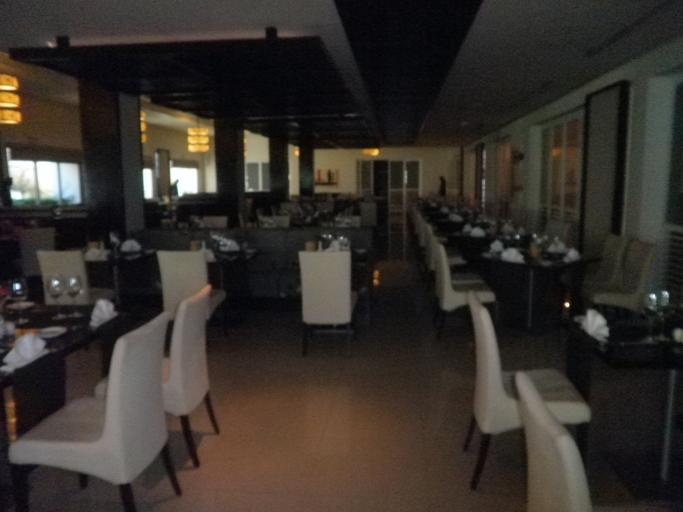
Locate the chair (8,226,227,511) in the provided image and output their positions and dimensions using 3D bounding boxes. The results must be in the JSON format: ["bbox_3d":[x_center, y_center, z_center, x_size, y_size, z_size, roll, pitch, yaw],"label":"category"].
[{"bbox_3d":[-1.474,0.688,3.686,1.126,1.817,1.102,6,11,7],"label":"chair"}]

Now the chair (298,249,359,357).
[{"bbox_3d":[-0.123,0.445,5.184,0.575,1.089,0.706,-2,9,-3],"label":"chair"}]
